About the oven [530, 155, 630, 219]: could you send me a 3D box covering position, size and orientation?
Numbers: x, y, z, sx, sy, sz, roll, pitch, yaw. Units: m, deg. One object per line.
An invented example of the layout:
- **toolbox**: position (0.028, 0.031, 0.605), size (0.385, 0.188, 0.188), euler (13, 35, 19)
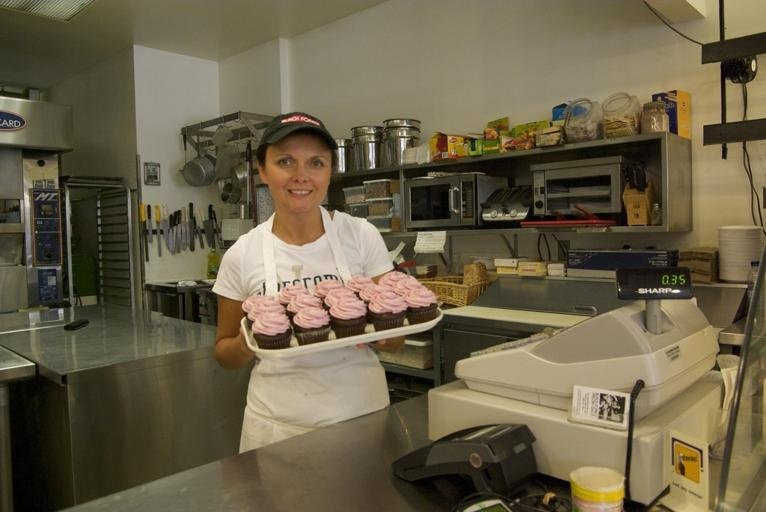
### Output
- **oven**: position (1.114, -0.322, 3.178), size (0.569, 0.357, 0.345), euler (0, 0, 37)

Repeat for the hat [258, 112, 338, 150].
- **hat**: position (-0.291, -0.435, 1.850), size (0.257, 0.129, 0.162), euler (-4, 7, -18)

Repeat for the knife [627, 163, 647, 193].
- **knife**: position (1.460, -0.455, 3.097), size (0.115, 0.165, 0.069), euler (0, 7, 22)

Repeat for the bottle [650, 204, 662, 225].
- **bottle**: position (1.575, -0.244, 3.103), size (0.050, 0.119, 0.103), euler (0, 7, 27)

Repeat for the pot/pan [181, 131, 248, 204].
- **pot/pan**: position (-1.643, -0.864, 5.349), size (0.896, 0.516, 0.346), euler (7, 19, 36)

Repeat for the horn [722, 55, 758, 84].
- **horn**: position (2.023, -1.065, 3.055), size (0.168, 0.133, 0.128), euler (1, 7, 26)

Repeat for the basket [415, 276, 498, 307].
- **basket**: position (0.488, 0.228, 3.346), size (0.309, 0.130, 0.350), euler (-2, 0, -7)

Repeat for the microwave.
- **microwave**: position (0.520, -0.280, 3.812), size (0.430, 0.401, 0.667), euler (-1, 1, -40)

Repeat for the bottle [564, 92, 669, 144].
- **bottle**: position (1.385, -0.801, 3.201), size (0.518, 0.209, 0.289), euler (-1, 11, 33)

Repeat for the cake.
- **cake**: position (-0.124, 0.189, 1.744), size (0.503, 0.150, 0.291), euler (-4, 6, -16)
